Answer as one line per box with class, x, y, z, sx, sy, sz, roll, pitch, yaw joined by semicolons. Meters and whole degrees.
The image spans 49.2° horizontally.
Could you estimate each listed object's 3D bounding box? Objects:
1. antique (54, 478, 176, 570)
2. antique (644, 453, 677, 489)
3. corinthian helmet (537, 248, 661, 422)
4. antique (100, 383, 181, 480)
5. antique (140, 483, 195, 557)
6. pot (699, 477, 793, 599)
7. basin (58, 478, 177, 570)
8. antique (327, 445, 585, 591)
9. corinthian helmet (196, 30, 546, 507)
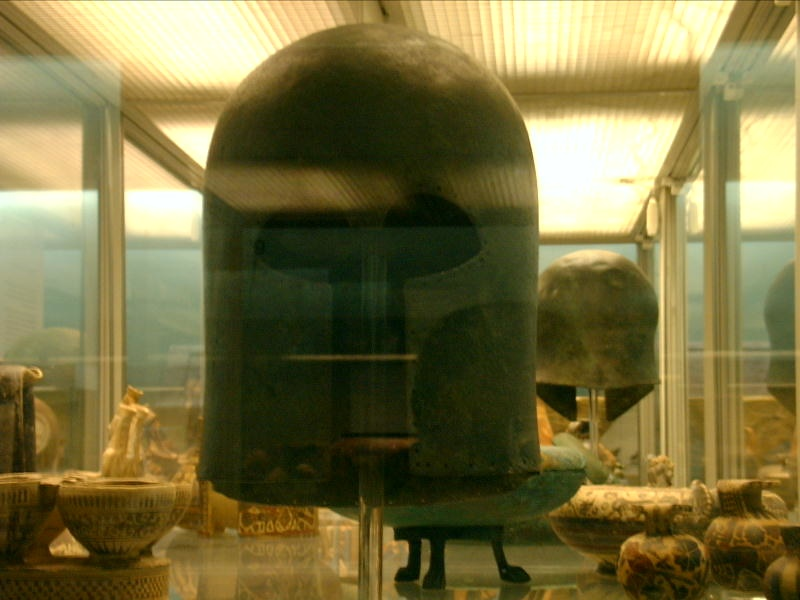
antique;-0.676;0.525;2.095;0.281;0.188;0.299;-1;-3;4
antique;0.732;0.486;2.478;0.072;0.090;0.079;6;-9;-28
corinthian helmet;0.611;0.100;2.828;0.442;0.546;0.373;2;1;40
antique;-0.658;0.325;2.170;0.198;0.256;0.219;1;2;-19
antique;-0.533;0.519;2.093;0.172;0.138;0.159;-3;-10;21
pot;0.868;0.640;2.394;0.251;0.383;0.277;-1;-11;4
basin;-0.663;0.528;2.105;0.297;0.196;0.305;0;-5;0
antique;0.169;0.633;2.554;0.715;0.394;0.773;1;-10;4
corinthian helmet;-0.030;-0.050;2.216;0.923;1.406;0.868;0;-3;-3
